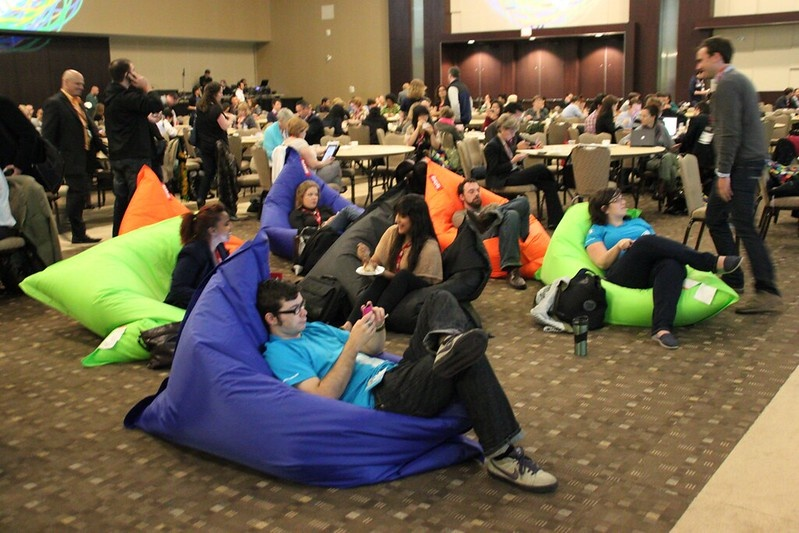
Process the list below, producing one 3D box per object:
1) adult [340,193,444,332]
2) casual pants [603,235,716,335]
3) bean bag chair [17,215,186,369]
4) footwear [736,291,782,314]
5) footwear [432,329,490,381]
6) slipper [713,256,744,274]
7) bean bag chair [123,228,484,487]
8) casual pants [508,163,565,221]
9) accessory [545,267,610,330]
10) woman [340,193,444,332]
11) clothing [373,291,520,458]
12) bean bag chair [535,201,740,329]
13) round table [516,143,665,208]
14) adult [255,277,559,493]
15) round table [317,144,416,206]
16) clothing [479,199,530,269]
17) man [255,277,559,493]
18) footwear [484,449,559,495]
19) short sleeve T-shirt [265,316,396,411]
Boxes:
[{"bbox_3d":[0.037,-0.118,4.143,0.961,0.933,0.634,-9,14,-38],"label":"adult"},{"bbox_3d":[1.823,0.143,3.977,0.685,0.247,0.672,-2,23,32],"label":"casual pants"},{"bbox_3d":[-1.986,0.154,3.994,1.125,0.340,1.135,33,33,22],"label":"bean bag chair"},{"bbox_3d":[2.613,0.262,4.252,0.403,0.173,0.146,-3,5,1],"label":"footwear"},{"bbox_3d":[0.268,0.361,2.547,0.234,0.264,0.250,-2,17,5],"label":"footwear"},{"bbox_3d":[2.258,-0.014,3.864,0.178,0.136,0.116,-14,21,-33],"label":"slipper"},{"bbox_3d":[-0.404,0.468,2.930,1.477,0.780,0.936,3,7,14],"label":"bean bag chair"},{"bbox_3d":[1.606,-0.860,6.791,0.668,0.781,0.668,-5,11,17],"label":"casual pants"},{"bbox_3d":[1.300,0.243,4.100,0.355,0.330,0.196,24,18,30],"label":"accessory"},{"bbox_3d":[0.170,-0.128,4.272,0.961,0.933,0.634,-9,14,-38],"label":"woman"},{"bbox_3d":[0.213,0.478,2.657,0.502,0.845,0.434,-6,45,-2],"label":"clothing"},{"bbox_3d":[1.723,0.023,4.245,0.897,0.492,1.249,-15,20,-37],"label":"bean bag chair"},{"bbox_3d":[2.263,-1.239,6.881,1.175,0.552,1.185,-3,10,1],"label":"round table"},{"bbox_3d":[0.008,0.488,2.797,1.530,0.859,0.648,-2,14,30],"label":"adult"},{"bbox_3d":[-0.410,-1.089,7.698,1.055,0.660,1.023,-1,18,0],"label":"round table"},{"bbox_3d":[1.024,-0.286,5.093,0.209,0.555,0.565,6,-7,-30],"label":"clothing"},{"bbox_3d":[-0.024,0.496,2.986,1.639,0.930,0.720,3,6,14],"label":"man"},{"bbox_3d":[0.549,0.894,2.652,0.393,0.171,0.148,9,24,22],"label":"footwear"},{"bbox_3d":[-0.337,0.387,2.753,0.473,0.172,0.448,18,15,14],"label":"short sleeve T-shirt"}]
